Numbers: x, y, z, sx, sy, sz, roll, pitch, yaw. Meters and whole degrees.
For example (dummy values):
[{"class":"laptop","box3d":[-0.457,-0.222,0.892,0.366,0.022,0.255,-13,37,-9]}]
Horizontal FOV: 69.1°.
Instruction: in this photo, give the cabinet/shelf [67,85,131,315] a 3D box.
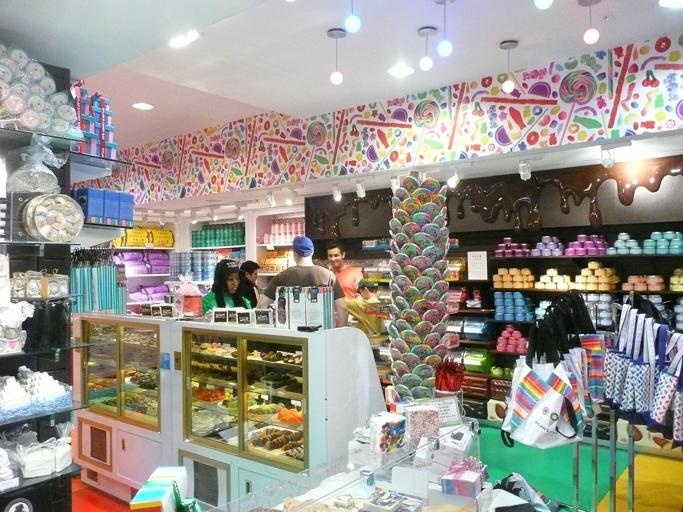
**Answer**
[{"class":"cabinet/shelf","box3d":[-1.499,-0.374,3.443,0.441,1.431,0.327,7,14,17]}]

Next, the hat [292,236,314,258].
[{"class":"hat","box3d":[-0.379,-0.122,5.047,0.166,0.166,0.217,-4,38,-18]}]

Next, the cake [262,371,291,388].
[{"class":"cake","box3d":[-0.493,0.943,3.848,0.167,0.062,0.124,1,4,38]}]

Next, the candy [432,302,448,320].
[{"class":"candy","box3d":[0.621,0.337,3.117,0.096,0.102,0.036,-25,14,-3]}]

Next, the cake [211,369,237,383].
[{"class":"cake","box3d":[-0.961,0.990,4.102,0.179,0.098,0.054,1,-9,28]}]

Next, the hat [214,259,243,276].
[{"class":"hat","box3d":[-1.108,0.114,4.933,0.189,0.151,0.140,3,-1,24]}]

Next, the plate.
[{"class":"plate","box3d":[-1.605,-0.213,2.769,0.290,0.275,0.092,-1,-1,-33]}]

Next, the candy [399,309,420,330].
[{"class":"candy","box3d":[0.430,0.394,3.107,0.124,0.120,0.047,-6,8,16]}]

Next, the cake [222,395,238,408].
[{"class":"cake","box3d":[-0.895,1.171,4.056,0.108,0.063,0.108,4,-5,-32]}]

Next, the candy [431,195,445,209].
[{"class":"candy","box3d":[0.624,-0.346,3.162,0.090,0.083,0.076,-5,4,-13]}]

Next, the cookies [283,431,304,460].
[{"class":"cookies","box3d":[-0.354,1.416,3.721,0.144,0.065,0.196,-4,6,-39]}]

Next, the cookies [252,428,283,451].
[{"class":"cookies","box3d":[-0.561,1.414,3.843,0.149,0.075,0.211,5,-6,-43]}]

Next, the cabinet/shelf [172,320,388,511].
[{"class":"cabinet/shelf","box3d":[-0.433,1.117,3.502,1.520,1.460,0.792,-2,-4,38]}]

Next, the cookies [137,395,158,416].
[{"class":"cookies","box3d":[-1.738,1.366,4.506,0.182,0.169,0.048,5,-3,30]}]

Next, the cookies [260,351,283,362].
[{"class":"cookies","box3d":[-0.531,0.764,3.832,0.084,0.046,0.120,2,-1,-40]}]

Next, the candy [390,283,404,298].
[{"class":"candy","box3d":[0.359,0.216,3.156,0.080,0.086,0.046,-1,2,15]}]

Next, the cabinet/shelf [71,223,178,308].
[{"class":"cabinet/shelf","box3d":[-2.926,0.168,6.746,0.428,1.334,1.364,-2,-6,32]}]

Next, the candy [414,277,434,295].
[{"class":"candy","box3d":[0.514,0.178,3.048,0.102,0.103,0.047,23,0,3]}]

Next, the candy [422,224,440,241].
[{"class":"candy","box3d":[0.570,-0.150,3.118,0.089,0.102,0.037,-2,13,8]}]

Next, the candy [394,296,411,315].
[{"class":"candy","box3d":[0.390,0.305,3.149,0.076,0.120,0.038,-37,-13,29]}]

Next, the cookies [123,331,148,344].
[{"class":"cookies","box3d":[-1.891,0.746,4.633,0.182,0.072,0.135,12,3,37]}]

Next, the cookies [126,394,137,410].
[{"class":"cookies","box3d":[-1.966,1.373,4.649,0.165,0.141,0.027,-2,-1,31]}]

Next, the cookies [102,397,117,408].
[{"class":"cookies","box3d":[-2.238,1.428,4.825,0.167,0.152,0.039,-2,-7,35]}]

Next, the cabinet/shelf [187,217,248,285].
[{"class":"cabinet/shelf","box3d":[-2.040,0.014,8.567,1.039,1.025,0.572,-3,-13,3]}]

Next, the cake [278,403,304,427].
[{"class":"cake","box3d":[-0.390,1.222,3.780,0.268,0.105,0.037,-2,0,36]}]

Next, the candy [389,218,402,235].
[{"class":"candy","box3d":[0.363,-0.196,3.227,0.080,0.097,0.030,4,3,29]}]

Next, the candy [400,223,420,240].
[{"class":"candy","box3d":[0.443,-0.158,3.144,0.102,0.103,0.034,6,0,22]}]

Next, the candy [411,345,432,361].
[{"class":"candy","box3d":[0.508,0.596,3.104,0.097,0.097,0.037,39,19,-15]}]

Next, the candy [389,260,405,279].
[{"class":"candy","box3d":[0.371,0.090,3.219,0.074,0.105,0.028,4,19,36]}]

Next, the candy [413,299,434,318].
[{"class":"candy","box3d":[0.507,0.320,3.084,0.098,0.113,0.049,5,4,3]}]

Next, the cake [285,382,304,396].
[{"class":"cake","box3d":[-0.351,0.985,3.728,0.184,0.069,0.019,-2,0,41]}]

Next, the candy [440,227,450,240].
[{"class":"candy","box3d":[0.662,-0.146,3.157,0.025,0.077,0.047,-8,25,-33]}]

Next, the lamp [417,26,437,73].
[{"class":"lamp","box3d":[0.708,-1.696,4.109,0.238,0.330,0.238,2,8,11]}]

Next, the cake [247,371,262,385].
[{"class":"cake","box3d":[-0.688,0.960,3.947,0.120,0.114,0.039,6,8,15]}]

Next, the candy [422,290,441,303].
[{"class":"candy","box3d":[0.567,0.244,3.085,0.101,0.068,0.023,-2,-1,-19]}]

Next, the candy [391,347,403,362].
[{"class":"candy","box3d":[0.354,0.636,3.178,0.028,0.069,0.078,3,41,-48]}]

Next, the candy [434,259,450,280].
[{"class":"candy","box3d":[0.642,0.088,3.176,0.044,0.117,0.117,-7,-2,-40]}]

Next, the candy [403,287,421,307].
[{"class":"candy","box3d":[0.447,0.256,3.095,0.103,0.112,0.045,3,2,15]}]

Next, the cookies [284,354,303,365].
[{"class":"cookies","box3d":[-0.357,0.776,3.716,0.175,0.059,0.016,-2,-1,33]}]

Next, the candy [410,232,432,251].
[{"class":"candy","box3d":[0.511,-0.092,3.114,0.109,0.110,0.056,5,-3,4]}]

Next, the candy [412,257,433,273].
[{"class":"candy","box3d":[0.507,0.053,3.107,0.096,0.096,0.045,2,6,3]}]

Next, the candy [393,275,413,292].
[{"class":"candy","box3d":[0.385,0.176,3.132,0.101,0.102,0.039,9,0,27]}]

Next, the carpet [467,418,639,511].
[{"class":"carpet","box3d":[1.862,1.961,4.594,1.116,0.257,1.026,3,4,40]}]

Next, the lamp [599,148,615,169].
[{"class":"lamp","box3d":[2.498,-0.925,4.646,0.087,0.172,0.207,-2,0,34]}]

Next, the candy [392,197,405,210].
[{"class":"candy","box3d":[0.376,-0.347,3.243,0.076,0.057,0.080,2,-10,-5]}]

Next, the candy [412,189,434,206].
[{"class":"candy","box3d":[0.517,-0.377,3.145,0.105,0.106,0.037,4,1,-2]}]

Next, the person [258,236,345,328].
[{"class":"person","box3d":[-0.357,0.240,4.967,0.849,0.651,0.479,-2,0,17]}]

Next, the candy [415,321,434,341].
[{"class":"candy","box3d":[0.518,0.460,3.096,0.075,0.108,0.093,34,-33,-32]}]
